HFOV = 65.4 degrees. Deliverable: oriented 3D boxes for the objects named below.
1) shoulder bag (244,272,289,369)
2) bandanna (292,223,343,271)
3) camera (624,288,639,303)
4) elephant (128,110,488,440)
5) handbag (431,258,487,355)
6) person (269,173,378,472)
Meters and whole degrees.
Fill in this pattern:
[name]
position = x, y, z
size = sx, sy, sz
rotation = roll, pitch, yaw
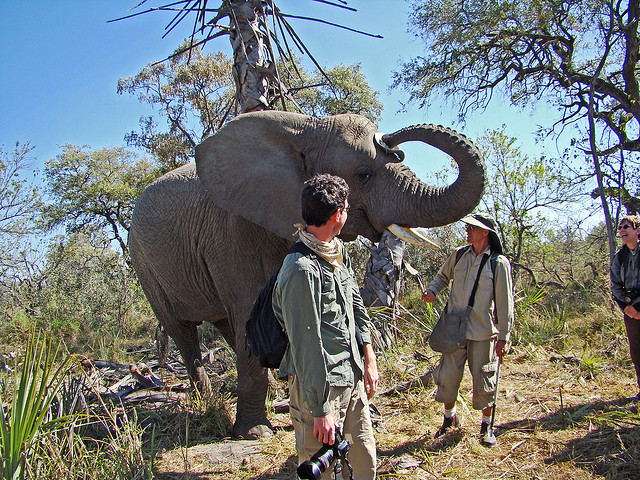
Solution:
[shoulder bag]
position = -0.535, 0.821, 4.918
size = 0.386, 0.979, 0.419
rotation = -9, 9, -39
[bandanna]
position = 0.002, 0.085, 4.897
size = 0.473, 0.499, 0.278
rotation = -3, 12, -5
[camera]
position = 4.410, 0.789, 7.051
size = 0.068, 0.190, 0.166
rotation = 11, -14, -39
[elephant]
position = -0.682, 0.364, 6.998
size = 5.280, 4.198, 1.693
rotation = 8, 15, 36
[handbag]
position = 1.900, 0.792, 6.809
size = 0.459, 1.799, 0.196
rotation = -17, -55, 45
[person]
position = 0.046, 0.824, 4.804
size = 1.025, 2.812, 0.803
rotation = -4, 12, -11
